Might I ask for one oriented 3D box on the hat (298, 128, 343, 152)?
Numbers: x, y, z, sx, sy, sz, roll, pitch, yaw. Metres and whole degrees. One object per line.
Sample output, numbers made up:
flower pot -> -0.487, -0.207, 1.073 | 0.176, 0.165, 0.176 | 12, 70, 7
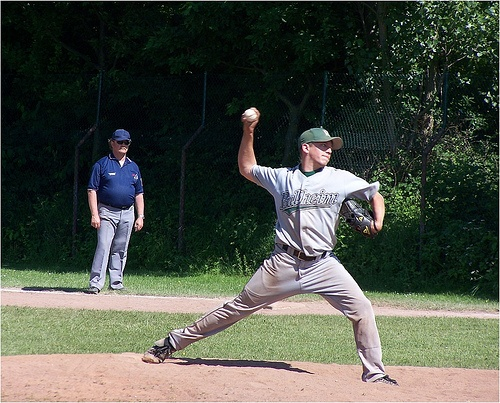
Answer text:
hat -> 0.894, -0.786, 9.760 | 0.422, 0.226, 0.285 | 1, 2, 19

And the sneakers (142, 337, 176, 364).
sneakers -> -1.168, 1.926, 9.963 | 0.216, 0.239, 0.522 | 46, 12, 6

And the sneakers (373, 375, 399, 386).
sneakers -> 1.679, 2.240, 9.571 | 0.337, 0.151, 0.118 | 0, 2, 5

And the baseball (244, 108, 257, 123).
baseball -> -0.009, -1.114, 9.767 | 0.133, 0.147, 0.173 | 6, 3, -2

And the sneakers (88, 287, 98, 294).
sneakers -> -2.869, 1.634, 13.937 | 0.159, 0.067, 0.125 | -3, -8, 35

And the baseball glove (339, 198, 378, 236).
baseball glove -> 1.355, 0.215, 9.683 | 0.467, 0.189, 0.333 | 41, -3, -12

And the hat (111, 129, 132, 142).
hat -> -2.405, -1.209, 14.126 | 0.265, 0.218, 0.368 | 1, -1, -23
